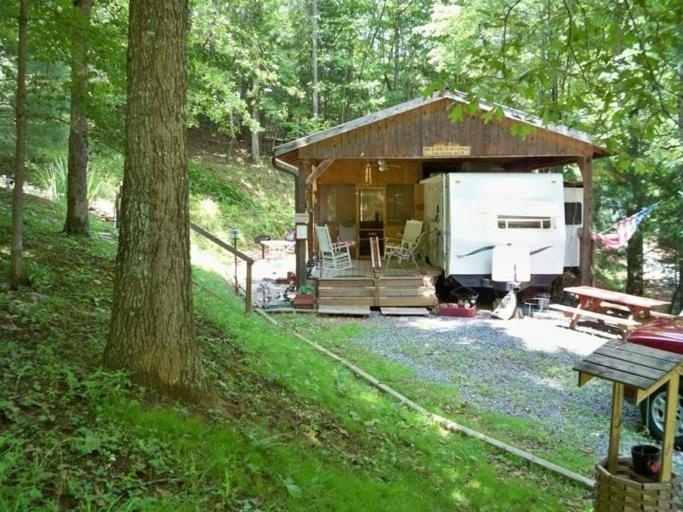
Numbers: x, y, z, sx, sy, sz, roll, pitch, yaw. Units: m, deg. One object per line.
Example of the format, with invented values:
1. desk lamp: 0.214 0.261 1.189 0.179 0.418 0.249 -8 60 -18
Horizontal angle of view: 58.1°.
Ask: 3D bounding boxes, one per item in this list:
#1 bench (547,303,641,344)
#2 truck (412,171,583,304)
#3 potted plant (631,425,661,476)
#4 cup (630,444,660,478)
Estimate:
1. bench: 5.134 1.321 12.515 1.155 0.521 2.209 4 2 4
2. truck: 3.755 -0.654 15.504 2.694 2.032 3.702 0 7 4
3. potted plant: 3.092 2.008 6.235 0.260 0.240 0.291 -4 -2 43
4. cup: 3.076 2.044 6.211 0.267 0.234 0.293 -3 2 0
